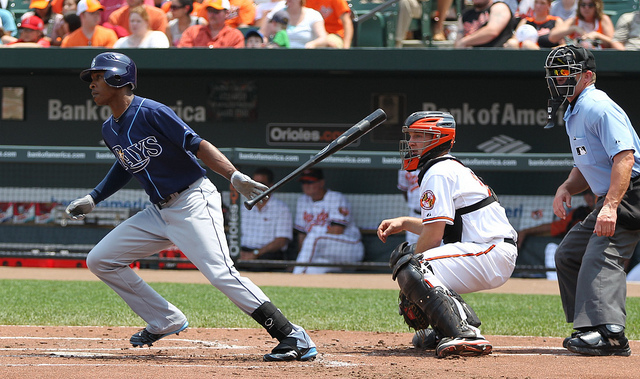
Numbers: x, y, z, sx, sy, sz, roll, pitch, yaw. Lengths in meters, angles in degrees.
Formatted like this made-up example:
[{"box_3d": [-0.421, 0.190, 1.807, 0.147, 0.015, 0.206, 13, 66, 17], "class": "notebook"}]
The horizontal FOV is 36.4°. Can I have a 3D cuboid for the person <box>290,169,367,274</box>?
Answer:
[{"box_3d": [0.129, 0.470, 15.543, 1.257, 1.555, 0.902, 0, -1, -20], "class": "person"}]

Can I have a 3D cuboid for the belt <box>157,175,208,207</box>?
[{"box_3d": [-1.524, 0.018, 10.644, 0.340, 0.089, 0.314, -28, -9, -10], "class": "belt"}]

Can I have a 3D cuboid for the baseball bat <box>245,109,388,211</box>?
[{"box_3d": [0.143, -0.466, 11.132, 1.564, 0.171, 0.211, -35, -43, 28], "class": "baseball bat"}]
